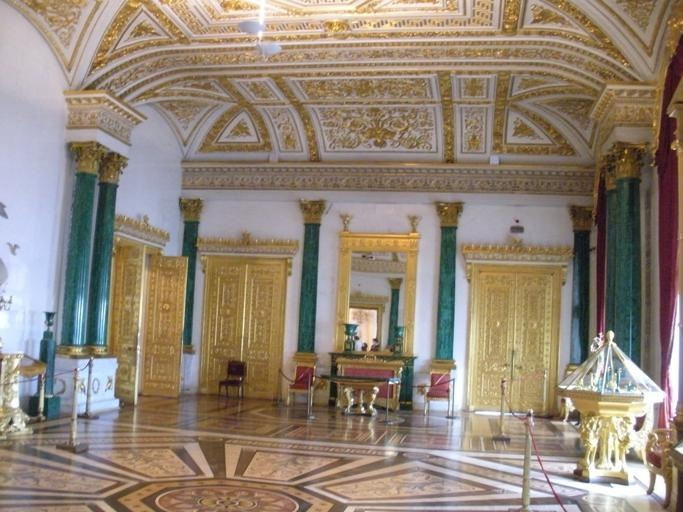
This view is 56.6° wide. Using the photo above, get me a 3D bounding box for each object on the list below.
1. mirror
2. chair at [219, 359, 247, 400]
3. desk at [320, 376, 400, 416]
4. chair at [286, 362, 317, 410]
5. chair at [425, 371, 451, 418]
[{"bbox_3d":[0.804,0.756,14.623,1.913,2.983,0.299,4,27,7],"label":"mirror"},{"bbox_3d":[-2.368,2.710,14.209,0.643,1.147,0.714,0,-8,11],"label":"chair"},{"bbox_3d":[0.493,2.836,12.932,1.347,0.755,1.862,1,-10,6],"label":"desk"},{"bbox_3d":[-0.866,2.742,13.735,0.506,0.912,0.580,1,-5,8],"label":"chair"},{"bbox_3d":[2.027,2.794,13.233,0.589,0.963,0.655,-1,-7,29],"label":"chair"}]
